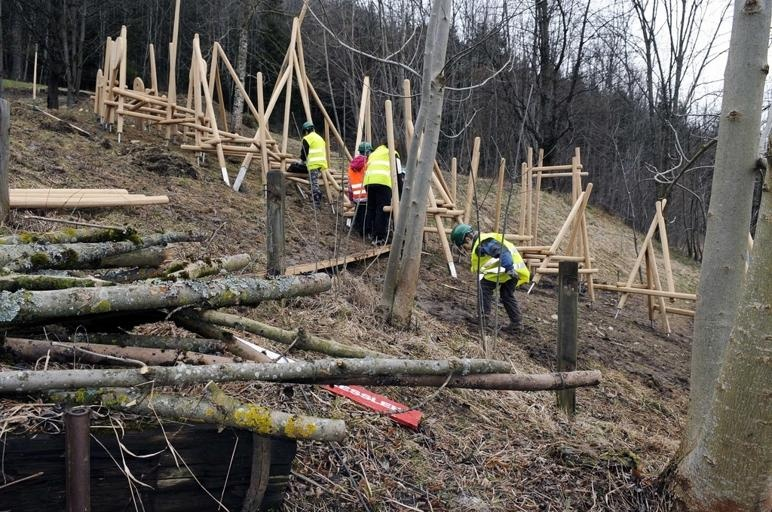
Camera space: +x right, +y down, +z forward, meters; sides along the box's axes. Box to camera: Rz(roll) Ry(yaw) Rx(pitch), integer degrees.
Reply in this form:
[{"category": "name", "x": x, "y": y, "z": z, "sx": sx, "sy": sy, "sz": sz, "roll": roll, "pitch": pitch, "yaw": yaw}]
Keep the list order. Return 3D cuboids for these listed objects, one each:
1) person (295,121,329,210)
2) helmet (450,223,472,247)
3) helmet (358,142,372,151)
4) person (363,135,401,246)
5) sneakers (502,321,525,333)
[{"category": "person", "x": -1.548, "y": -1.983, "z": 16.933, "sx": 0.637, "sy": 1.734, "sz": 1.415, "roll": 6, "pitch": 10, "yaw": -6}, {"category": "helmet", "x": 1.422, "y": -0.424, "z": 14.433, "sx": 0.385, "sy": 0.430, "sz": 0.337, "roll": 7, "pitch": 14, "yaw": 30}, {"category": "helmet", "x": -0.444, "y": -2.285, "z": 16.470, "sx": 0.171, "sy": 0.157, "sz": 0.258, "roll": -1, "pitch": 6, "yaw": -1}, {"category": "person", "x": -0.109, "y": -1.309, "z": 15.800, "sx": 0.736, "sy": 2.248, "sz": 0.714, "roll": -2, "pitch": -14, "yaw": 31}, {"category": "sneakers", "x": 2.225, "y": 1.244, "z": 13.747, "sx": 0.469, "sy": 0.233, "sz": 0.166, "roll": -9, "pitch": -4, "yaw": 6}]
